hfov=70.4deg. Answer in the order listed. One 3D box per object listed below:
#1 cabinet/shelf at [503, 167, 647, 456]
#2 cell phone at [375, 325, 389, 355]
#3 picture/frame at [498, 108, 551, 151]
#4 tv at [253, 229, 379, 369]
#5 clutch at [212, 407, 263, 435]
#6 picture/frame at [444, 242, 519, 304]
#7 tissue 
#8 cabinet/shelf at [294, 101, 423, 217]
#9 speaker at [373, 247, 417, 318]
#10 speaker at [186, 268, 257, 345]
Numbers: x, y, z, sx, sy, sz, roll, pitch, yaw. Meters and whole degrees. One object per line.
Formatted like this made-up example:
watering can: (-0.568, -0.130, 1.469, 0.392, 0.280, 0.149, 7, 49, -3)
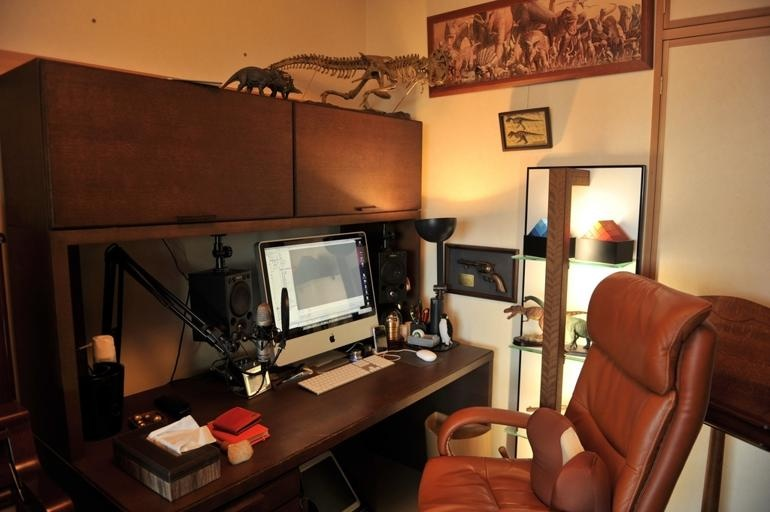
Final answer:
cabinet/shelf: (1.020, 0.380, 2.985, 0.646, 1.703, 0.219, 4, 8, 28)
cell phone: (-0.022, 0.502, 3.202, 0.019, 0.185, 0.139, -12, -16, 34)
picture/frame: (0.812, -0.729, 3.127, 0.260, 0.220, 0.028, 4, 19, 36)
tv: (-0.385, 0.252, 2.938, 0.182, 0.640, 0.710, -1, 6, 43)
clutch: (-0.633, 0.695, 2.357, 0.112, 0.028, 0.119, 5, 10, 26)
picture/frame: (0.608, 0.100, 3.357, 0.368, 0.263, 0.041, 7, 10, 36)
tissue : (-0.801, 0.788, 2.136, 0.335, 0.114, 0.238, 8, 10, 39)
cabinet/shelf: (-0.267, -0.548, 3.240, 0.893, 0.559, 0.470, -6, 11, -40)
speaker: (0.096, 0.144, 3.469, 0.206, 0.336, 0.201, -1, 4, 22)
speaker: (-0.835, 0.236, 2.818, 0.259, 0.306, 0.261, 5, 8, 36)
